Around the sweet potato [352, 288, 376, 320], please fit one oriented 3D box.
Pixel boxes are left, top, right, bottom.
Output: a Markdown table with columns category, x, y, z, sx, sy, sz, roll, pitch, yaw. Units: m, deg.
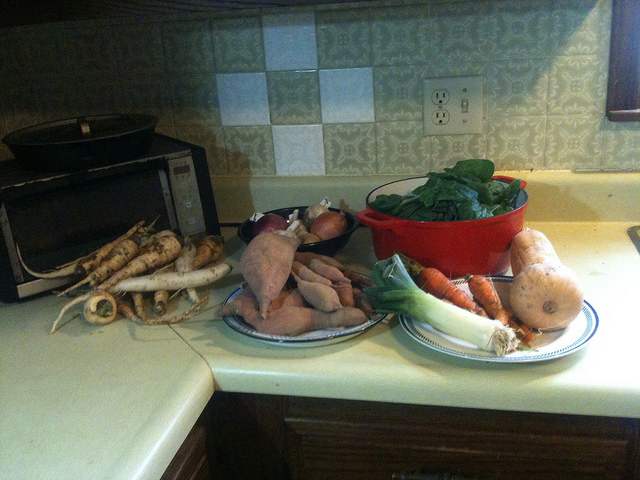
| category | x | y | z | sx | sy | sz | roll | pitch | yaw |
| --- | --- | --- | --- | --- | --- | --- | --- | --- | --- |
| sweet potato | 0.087 | 0.127 | 0.969 | 0.023 | 0.022 | 0.076 | -13 | 41 | -4 |

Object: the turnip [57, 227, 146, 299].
| category | x | y | z | sx | sy | sz | roll | pitch | yaw |
| --- | --- | --- | --- | --- | --- | --- | --- | --- | --- |
| turnip | -0.474 | 0.036 | 1.116 | 0.136 | 0.164 | 0.161 | 9 | 20 | 18 |

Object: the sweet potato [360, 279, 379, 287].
| category | x | y | z | sx | sy | sz | roll | pitch | yaw |
| --- | --- | --- | --- | --- | --- | --- | --- | --- | --- |
| sweet potato | 0.103 | 0.090 | 1.004 | 0.015 | 0.004 | 0.016 | 8 | 28 | -4 |

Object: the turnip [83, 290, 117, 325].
| category | x | y | z | sx | sy | sz | roll | pitch | yaw |
| --- | --- | --- | --- | --- | --- | --- | --- | --- | --- |
| turnip | -0.463 | 0.142 | 1.028 | 0.042 | 0.070 | 0.070 | -6 | -7 | 43 |

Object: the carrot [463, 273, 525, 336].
| category | x | y | z | sx | sy | sz | roll | pitch | yaw |
| --- | --- | --- | --- | --- | --- | --- | --- | --- | --- |
| carrot | 0.320 | 0.111 | 0.938 | 0.042 | 0.064 | 0.210 | -5 | 18 | -11 |

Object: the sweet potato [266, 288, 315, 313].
| category | x | y | z | sx | sy | sz | roll | pitch | yaw |
| --- | --- | --- | --- | --- | --- | --- | --- | --- | --- |
| sweet potato | -0.059 | 0.117 | 0.958 | 0.076 | 0.026 | 0.042 | -4 | 40 | -3 |

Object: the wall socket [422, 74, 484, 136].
| category | x | y | z | sx | sy | sz | roll | pitch | yaw |
| --- | --- | --- | --- | --- | --- | --- | --- | --- | --- |
| wall socket | 0.359 | -0.361 | 1.314 | 0.133 | 0.164 | 0.095 | 5 | 16 | 21 |

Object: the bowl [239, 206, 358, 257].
| category | x | y | z | sx | sy | sz | roll | pitch | yaw |
| --- | --- | --- | --- | --- | --- | --- | --- | --- | --- |
| bowl | -0.033 | -0.018 | 1.276 | 0.303 | 0.129 | 0.276 | -3 | 17 | 1 |

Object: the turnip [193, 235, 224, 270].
| category | x | y | z | sx | sy | sz | roll | pitch | yaw |
| --- | --- | --- | --- | --- | --- | --- | --- | --- | --- |
| turnip | -0.281 | 0.030 | 1.235 | 0.041 | 0.044 | 0.097 | -24 | 17 | 48 |

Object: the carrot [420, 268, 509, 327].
| category | x | y | z | sx | sy | sz | roll | pitch | yaw |
| --- | --- | --- | --- | --- | --- | --- | --- | --- | --- |
| carrot | 0.280 | 0.095 | 0.931 | 0.083 | 0.034 | 0.126 | 8 | 24 | -28 |

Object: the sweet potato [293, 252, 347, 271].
| category | x | y | z | sx | sy | sz | roll | pitch | yaw |
| --- | --- | --- | --- | --- | --- | --- | --- | --- | --- |
| sweet potato | -0.004 | 0.047 | 1.062 | 0.069 | 0.015 | 0.021 | 15 | 34 | 32 |

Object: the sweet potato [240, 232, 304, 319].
| category | x | y | z | sx | sy | sz | roll | pitch | yaw |
| --- | --- | --- | --- | --- | --- | --- | --- | --- | --- |
| sweet potato | -0.107 | 0.059 | 1.006 | 0.123 | 0.092 | 0.249 | 10 | 49 | -1 |

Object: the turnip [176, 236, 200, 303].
| category | x | y | z | sx | sy | sz | roll | pitch | yaw |
| --- | --- | --- | --- | --- | --- | --- | --- | --- | --- |
| turnip | -0.302 | 0.070 | 1.125 | 0.056 | 0.146 | 0.065 | 4 | 21 | 7 |
